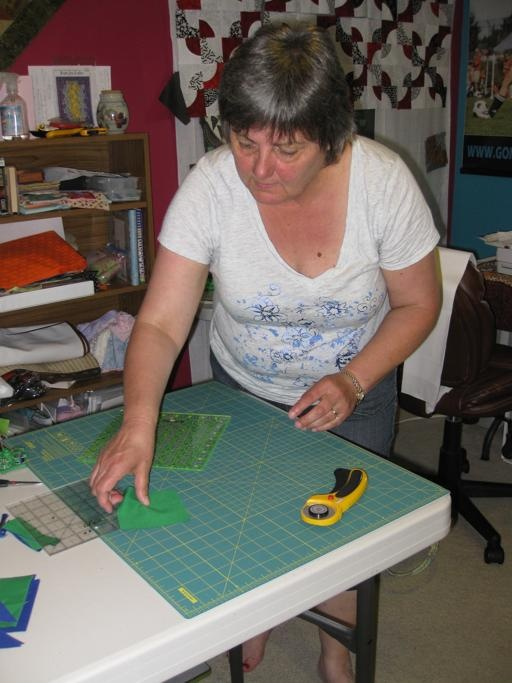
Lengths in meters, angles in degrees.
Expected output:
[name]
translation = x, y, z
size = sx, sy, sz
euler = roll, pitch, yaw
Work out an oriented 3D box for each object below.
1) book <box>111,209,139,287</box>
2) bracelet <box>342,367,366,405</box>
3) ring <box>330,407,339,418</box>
[book]
translation = -0.564, -0.399, 2.390
size = 0.045, 0.282, 0.302
euler = -8, 17, -21
[bracelet]
translation = 0.177, 0.078, 0.989
size = 0.024, 0.059, 0.051
euler = -33, -14, 29
[ring]
translation = 0.135, 0.125, 0.943
size = 0.012, 0.013, 0.005
euler = -6, -4, 43
